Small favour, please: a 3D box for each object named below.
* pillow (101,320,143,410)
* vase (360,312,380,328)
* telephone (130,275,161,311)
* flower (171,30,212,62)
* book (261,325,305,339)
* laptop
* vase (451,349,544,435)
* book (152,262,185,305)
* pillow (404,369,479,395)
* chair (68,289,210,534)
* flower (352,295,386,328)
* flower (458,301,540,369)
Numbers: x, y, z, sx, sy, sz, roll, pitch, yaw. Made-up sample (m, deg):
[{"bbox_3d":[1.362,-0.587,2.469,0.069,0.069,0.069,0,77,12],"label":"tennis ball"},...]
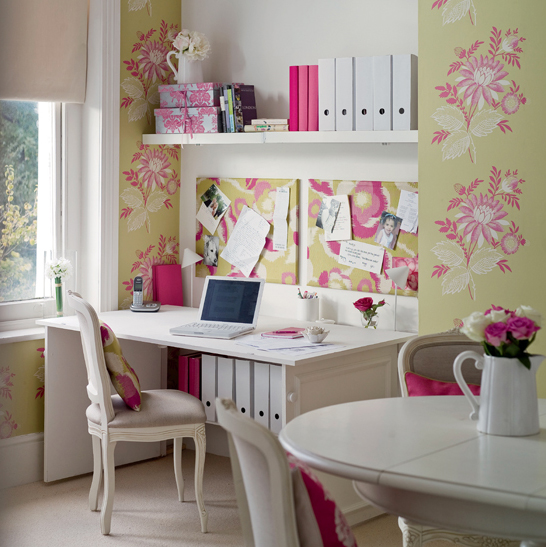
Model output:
[{"bbox_3d":[-0.716,0.428,2.478,0.177,0.409,0.152,0,4,-16],"label":"pillow"},{"bbox_3d":[0.527,0.245,2.834,0.083,0.107,0.085,-2,0,23],"label":"vase"},{"bbox_3d":[-0.813,0.122,3.258,0.148,0.186,0.160,-4,11,-36],"label":"telephone"},{"bbox_3d":[-0.504,-1.392,3.216,0.181,0.184,0.094,20,18,0],"label":"flower"},{"bbox_3d":[0.052,0.292,2.660,0.212,0.024,0.268,1,4,2],"label":"book"},{"bbox_3d":[-0.285,0.163,2.705,0.495,0.274,0.487,-1,4,-17],"label":"laptop"},{"bbox_3d":[0.570,0.300,1.378,0.240,0.225,0.152,0,2,-1],"label":"vase"},{"bbox_3d":[-0.715,0.062,3.557,0.197,0.351,0.038,1,42,-8],"label":"book"},{"bbox_3d":[0.606,0.392,1.890,0.162,0.052,0.168,5,14,-3],"label":"pillow"},{"bbox_3d":[-0.662,0.686,2.641,0.629,1.081,0.549,1,-2,-27],"label":"chair"},{"bbox_3d":[0.520,0.207,2.808,0.160,0.171,0.208,1,4,12],"label":"flower"},{"bbox_3d":[0.578,0.146,1.334,0.150,0.161,0.157,-9,22,17],"label":"flower"}]
